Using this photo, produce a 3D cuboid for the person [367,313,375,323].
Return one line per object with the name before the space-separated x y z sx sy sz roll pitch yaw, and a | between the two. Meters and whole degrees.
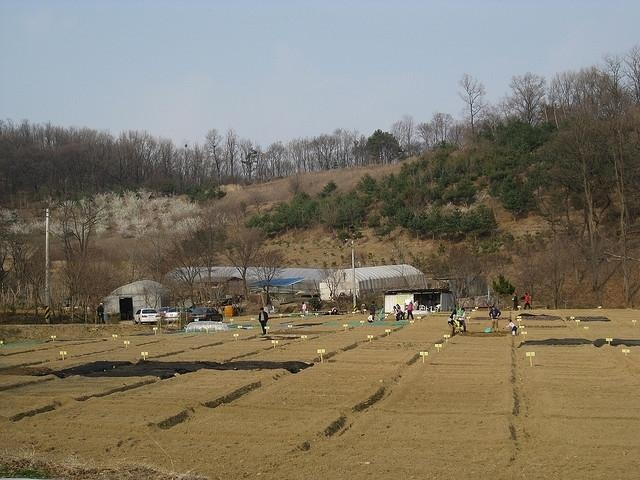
person | 3.631 5.647 55.113 0.559 0.833 0.456 0 -4 -1
